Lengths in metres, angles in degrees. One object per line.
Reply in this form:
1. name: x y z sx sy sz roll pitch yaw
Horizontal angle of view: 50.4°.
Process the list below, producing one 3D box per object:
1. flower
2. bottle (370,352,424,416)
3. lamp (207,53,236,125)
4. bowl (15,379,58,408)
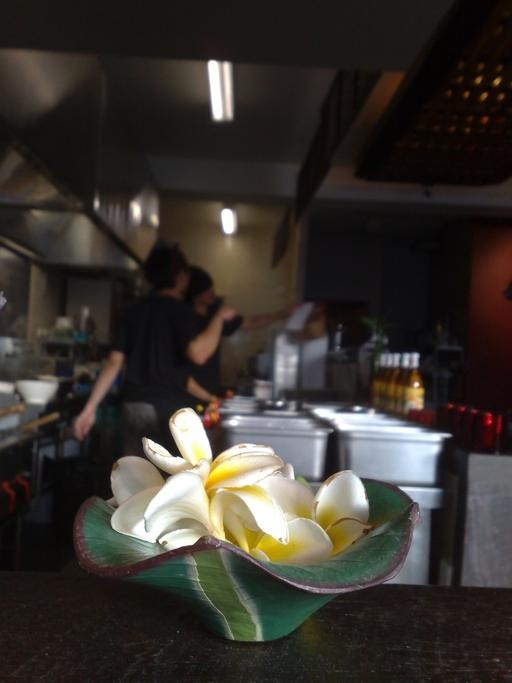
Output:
1. flower: -0.022 0.092 0.370 0.123 0.049 0.119 -11 -2 4
2. bottle: 0.381 0.118 1.505 0.164 0.231 0.076 1 -4 -10
3. lamp: -0.094 -0.691 1.466 0.063 0.134 0.027 1 25 3
4. bowl: -0.629 0.148 1.562 0.131 0.076 0.026 -1 -4 22
